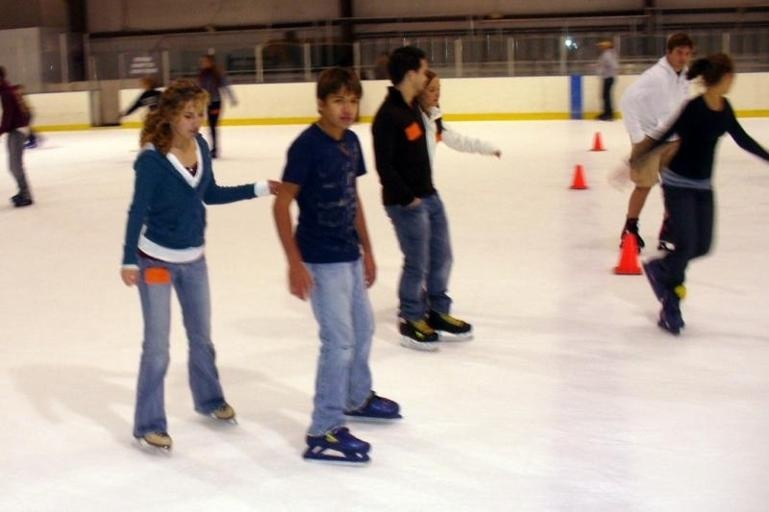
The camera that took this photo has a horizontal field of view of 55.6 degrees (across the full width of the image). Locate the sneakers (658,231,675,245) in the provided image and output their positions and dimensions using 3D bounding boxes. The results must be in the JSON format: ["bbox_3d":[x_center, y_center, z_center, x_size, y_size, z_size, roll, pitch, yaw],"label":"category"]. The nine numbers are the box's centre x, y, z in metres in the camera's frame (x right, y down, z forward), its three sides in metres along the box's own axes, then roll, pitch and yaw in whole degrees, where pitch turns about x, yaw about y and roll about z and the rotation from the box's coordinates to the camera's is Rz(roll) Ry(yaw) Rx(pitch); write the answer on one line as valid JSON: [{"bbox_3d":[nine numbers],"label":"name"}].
[{"bbox_3d":[2.050,-0.120,5.336,0.121,0.113,0.125,1,19,38],"label":"sneakers"}]

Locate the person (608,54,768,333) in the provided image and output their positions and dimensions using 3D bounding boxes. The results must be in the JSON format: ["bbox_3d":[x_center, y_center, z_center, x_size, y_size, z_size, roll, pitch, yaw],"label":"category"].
[{"bbox_3d":[2.193,-0.427,5.229,0.763,1.979,0.399,3,14,19],"label":"person"}]

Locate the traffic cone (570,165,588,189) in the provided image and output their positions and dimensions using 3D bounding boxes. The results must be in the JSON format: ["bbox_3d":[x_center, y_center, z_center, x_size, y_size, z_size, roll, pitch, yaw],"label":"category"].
[{"bbox_3d":[2.805,-1.153,10.514,0.231,0.344,0.652,2,13,15],"label":"traffic cone"}]

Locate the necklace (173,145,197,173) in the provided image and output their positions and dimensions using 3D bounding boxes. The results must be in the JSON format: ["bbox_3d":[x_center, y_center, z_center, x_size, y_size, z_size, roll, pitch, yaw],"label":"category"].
[{"bbox_3d":[-1.033,-0.521,3.826,0.117,0.148,0.070,-20,-17,-51],"label":"necklace"}]

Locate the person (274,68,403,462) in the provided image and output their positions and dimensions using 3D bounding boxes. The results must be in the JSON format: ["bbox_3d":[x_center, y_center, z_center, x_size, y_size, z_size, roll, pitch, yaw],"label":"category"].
[{"bbox_3d":[-0.201,0.181,3.872,0.662,1.730,0.540,-8,14,-25],"label":"person"}]

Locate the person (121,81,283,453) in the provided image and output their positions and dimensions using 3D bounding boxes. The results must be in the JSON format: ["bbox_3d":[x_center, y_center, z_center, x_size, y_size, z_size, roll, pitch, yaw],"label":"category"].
[{"bbox_3d":[-1.098,0.041,3.979,0.310,1.949,0.734,11,18,42],"label":"person"}]

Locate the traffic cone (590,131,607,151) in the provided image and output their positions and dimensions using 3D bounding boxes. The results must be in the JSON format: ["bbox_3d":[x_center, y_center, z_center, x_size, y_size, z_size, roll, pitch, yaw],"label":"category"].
[{"bbox_3d":[4.026,-2.164,13.751,0.261,0.334,0.809,2,13,16],"label":"traffic cone"}]

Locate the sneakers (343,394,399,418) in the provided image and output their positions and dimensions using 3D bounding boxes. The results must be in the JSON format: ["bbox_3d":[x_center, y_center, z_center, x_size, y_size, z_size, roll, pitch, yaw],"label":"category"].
[{"bbox_3d":[-0.089,0.871,4.252,0.341,0.120,0.117,-2,2,6],"label":"sneakers"}]
